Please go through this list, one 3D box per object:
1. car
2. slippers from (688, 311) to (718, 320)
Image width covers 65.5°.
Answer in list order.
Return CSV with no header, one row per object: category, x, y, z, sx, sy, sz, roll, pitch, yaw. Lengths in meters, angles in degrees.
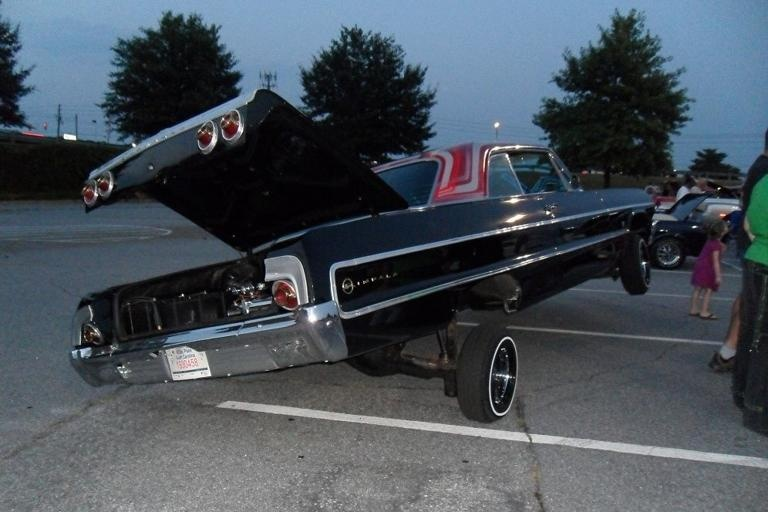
car,0.111,-0.076,5.904,2.609,1.978,4.841,0,11,41
slippers,4.572,0.853,8.532,0.334,0.096,0.137,2,-2,7
